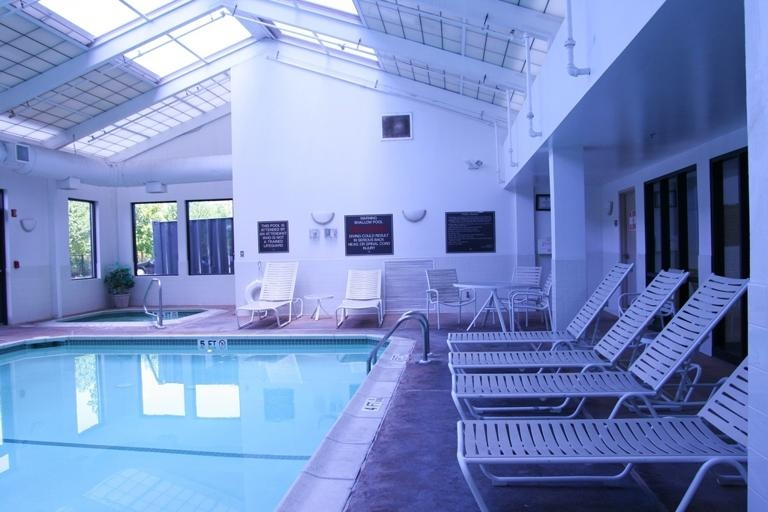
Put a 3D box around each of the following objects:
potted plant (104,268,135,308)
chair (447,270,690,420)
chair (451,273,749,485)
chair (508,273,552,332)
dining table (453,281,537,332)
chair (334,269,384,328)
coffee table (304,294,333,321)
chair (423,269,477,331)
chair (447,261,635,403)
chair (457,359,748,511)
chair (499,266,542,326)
[{"bbox_3d":[-6.817,0.869,14.138,0.850,1.012,0.818,-1,-1,-35],"label":"potted plant"},{"bbox_3d":[2.271,0.870,5.955,3.057,1.170,1.003,-4,4,4],"label":"chair"},{"bbox_3d":[2.177,0.956,5.609,2.756,1.439,0.883,-3,2,11],"label":"chair"},{"bbox_3d":[2.635,0.825,9.615,0.718,1.013,0.703,0,4,8],"label":"chair"},{"bbox_3d":[1.865,0.768,9.261,1.020,0.635,1.025,1,0,6],"label":"dining table"},{"bbox_3d":[-0.462,0.906,11.042,0.856,0.981,1.374,-1,8,4],"label":"chair"},{"bbox_3d":[-1.443,1.127,11.698,0.589,0.437,0.590,-1,-4,5],"label":"coffee table"},{"bbox_3d":[1.301,0.825,10.436,0.901,1.081,0.874,-2,5,0],"label":"chair"},{"bbox_3d":[1.864,0.748,5.986,2.382,1.100,0.778,-5,-1,13],"label":"chair"},{"bbox_3d":[1.631,1.498,4.979,2.960,1.341,1.137,-1,0,3],"label":"chair"},{"bbox_3d":[2.801,0.724,10.604,0.787,0.917,0.776,0,-7,-27],"label":"chair"}]
